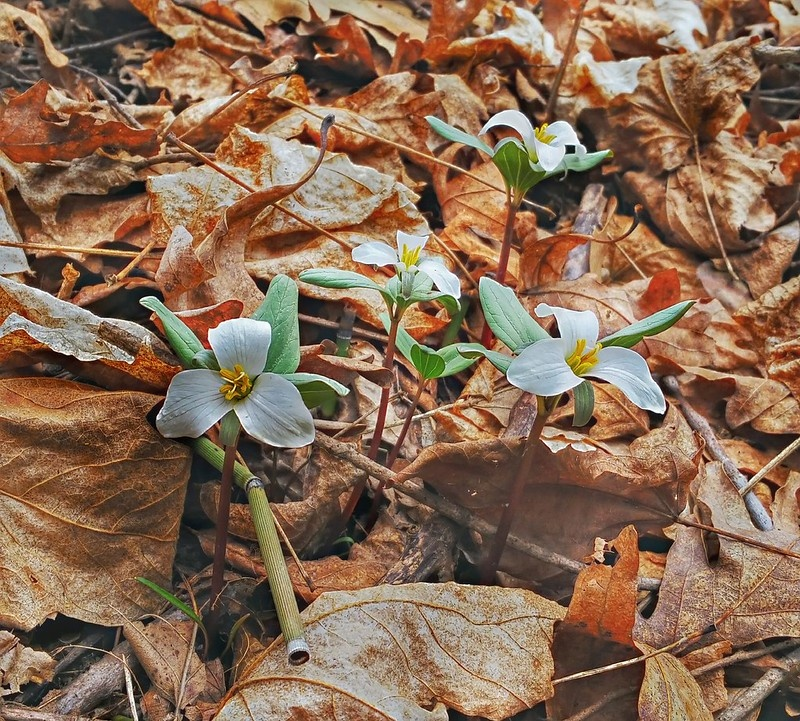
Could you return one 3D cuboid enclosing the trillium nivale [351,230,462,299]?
[{"bbox_3d":[0.005,-0.272,2.861,0.284,0.235,0.117,13,84,-9],"label":"trillium nivale"}]

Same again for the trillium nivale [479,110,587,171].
[{"bbox_3d":[0.421,-0.690,3.076,0.252,0.094,0.252,34,30,24],"label":"trillium nivale"}]
